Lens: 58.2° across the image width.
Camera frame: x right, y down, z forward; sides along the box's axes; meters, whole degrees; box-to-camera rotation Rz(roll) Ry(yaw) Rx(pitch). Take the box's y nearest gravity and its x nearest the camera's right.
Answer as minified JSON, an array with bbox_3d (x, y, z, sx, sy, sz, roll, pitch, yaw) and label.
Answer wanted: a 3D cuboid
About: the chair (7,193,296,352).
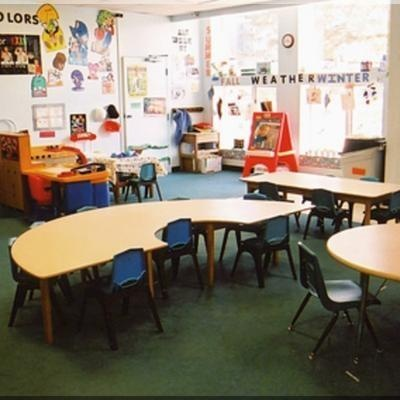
[{"bbox_3d":[-0.500,0.538,3.559,2.505,0.804,1.429,-8,11,-41],"label":"chair"}]
